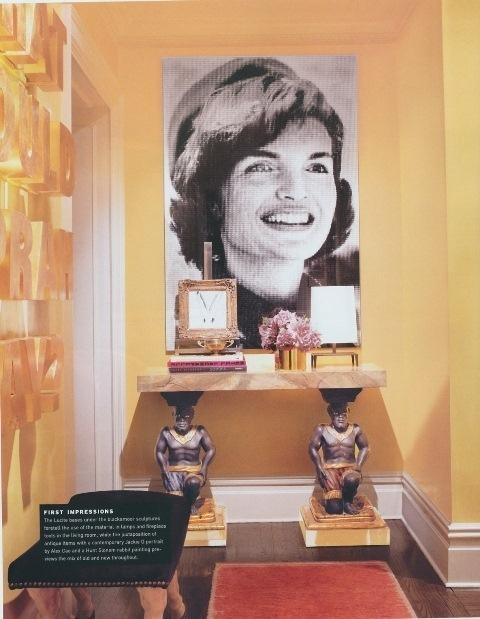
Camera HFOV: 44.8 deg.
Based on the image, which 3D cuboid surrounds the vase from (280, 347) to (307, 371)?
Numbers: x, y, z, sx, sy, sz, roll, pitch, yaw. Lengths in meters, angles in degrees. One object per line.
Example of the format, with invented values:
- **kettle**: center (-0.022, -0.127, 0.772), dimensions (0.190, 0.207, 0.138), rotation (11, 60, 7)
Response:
- **vase**: center (0.228, 0.210, 2.505), dimensions (0.129, 0.157, 0.076), rotation (0, -6, -4)

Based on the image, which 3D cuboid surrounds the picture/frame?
- **picture/frame**: center (-0.138, 0.000, 2.576), dimensions (0.203, 0.258, 0.033), rotation (-1, -5, 0)

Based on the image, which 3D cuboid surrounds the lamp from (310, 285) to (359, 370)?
- **lamp**: center (0.430, 0.052, 2.651), dimensions (0.243, 0.369, 0.237), rotation (-13, 13, -43)
